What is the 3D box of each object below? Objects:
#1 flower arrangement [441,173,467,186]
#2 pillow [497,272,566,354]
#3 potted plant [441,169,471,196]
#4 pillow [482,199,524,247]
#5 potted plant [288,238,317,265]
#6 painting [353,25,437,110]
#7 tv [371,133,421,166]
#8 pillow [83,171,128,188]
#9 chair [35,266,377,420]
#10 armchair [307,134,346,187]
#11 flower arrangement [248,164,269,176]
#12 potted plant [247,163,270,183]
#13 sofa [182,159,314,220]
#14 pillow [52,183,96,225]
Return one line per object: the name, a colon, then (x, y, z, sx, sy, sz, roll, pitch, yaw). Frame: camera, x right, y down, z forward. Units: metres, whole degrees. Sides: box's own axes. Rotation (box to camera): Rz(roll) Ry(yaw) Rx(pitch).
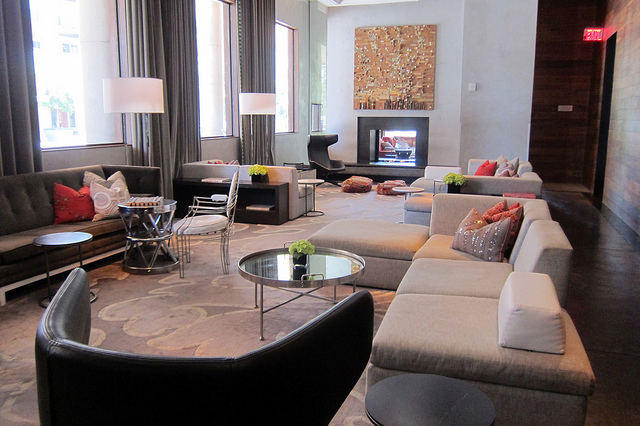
flower arrangement: (1.888, -0.475, 6.241, 0.263, 0.153, 0.328, 11, 12, 22)
pillow: (1.275, 0.586, 2.767, 0.377, 0.371, 0.530, 4, 12, 13)
potted plant: (1.885, -0.414, 6.261, 0.285, 0.280, 0.290, 4, 6, 16)
pillow: (1.797, 0.058, 4.208, 0.129, 0.381, 0.423, 30, 10, -14)
potted plant: (-0.155, 0.327, 3.920, 0.205, 0.196, 0.197, -3, 9, -11)
painting: (1.952, -3.720, 11.195, 2.244, 2.057, 0.091, 4, 8, 18)
tv: (1.997, -1.660, 11.507, 0.936, 0.603, 0.018, 4, 8, 27)
pillow: (-2.736, -0.426, 5.619, 0.253, 0.093, 0.258, 35, 24, 31)
chair: (-0.444, 0.512, 1.682, 1.269, 0.471, 0.483, 7, 12, 4)
armchair: (0.174, -1.269, 10.737, 0.958, 1.239, 0.859, -9, 13, -44)
flower arrangement: (-0.983, -0.679, 7.056, 0.203, 0.125, 0.198, 1, 6, 18)
potted plant: (-0.977, -0.638, 7.121, 0.289, 0.246, 0.285, 0, 6, 3)
sofa: (-0.977, -0.121, 7.705, 1.869, 0.795, 1.051, 3, 10, 19)
pillow: (-2.862, -0.121, 5.221, 0.379, 0.436, 0.555, 6, 13, 19)
